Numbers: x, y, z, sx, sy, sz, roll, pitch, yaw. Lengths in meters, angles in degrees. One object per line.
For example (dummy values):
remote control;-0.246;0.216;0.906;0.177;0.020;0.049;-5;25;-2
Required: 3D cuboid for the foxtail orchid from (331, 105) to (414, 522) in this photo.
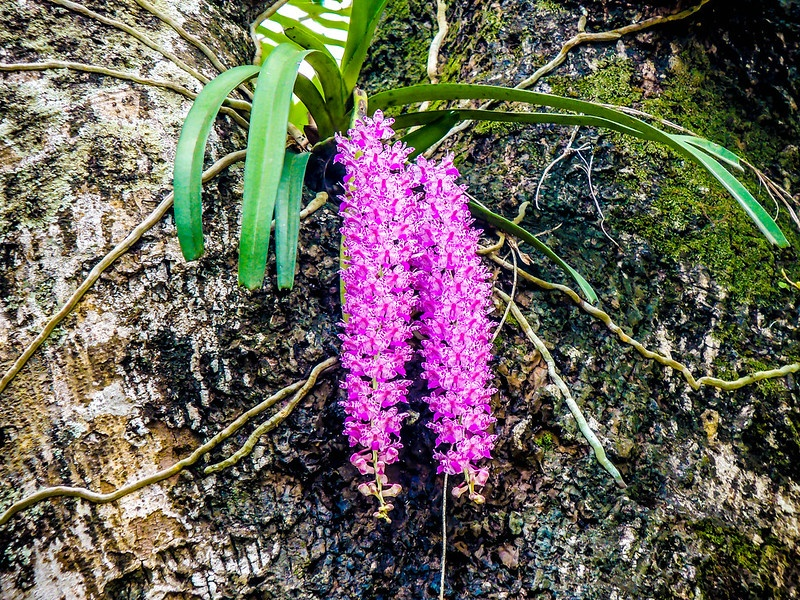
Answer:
foxtail orchid;-0.060;0.031;1.873;0.149;0.805;0.181;2;-13;-12
